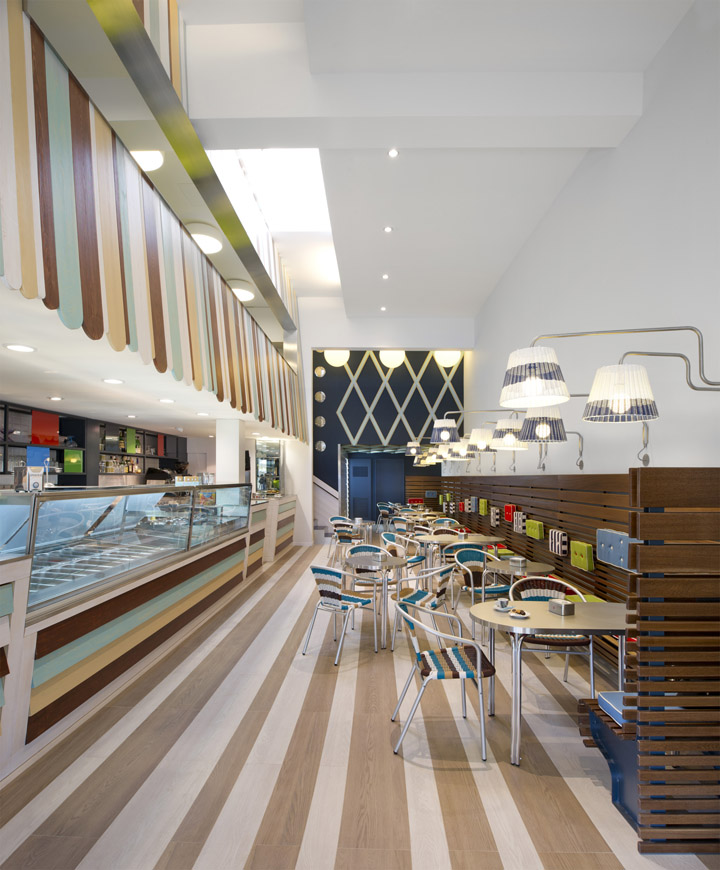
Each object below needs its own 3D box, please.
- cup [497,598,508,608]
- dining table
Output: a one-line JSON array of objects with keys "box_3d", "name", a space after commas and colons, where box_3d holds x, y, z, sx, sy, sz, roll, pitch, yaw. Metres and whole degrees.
[{"box_3d": [0.954, 1.136, 3.736, 0.061, 0.072, 0.083, -1, -13, 11], "name": "cup"}, {"box_3d": [1.232, 1.581, 3.527, 0.885, 0.846, 1.043, 0, -5, -1], "name": "dining table"}]
